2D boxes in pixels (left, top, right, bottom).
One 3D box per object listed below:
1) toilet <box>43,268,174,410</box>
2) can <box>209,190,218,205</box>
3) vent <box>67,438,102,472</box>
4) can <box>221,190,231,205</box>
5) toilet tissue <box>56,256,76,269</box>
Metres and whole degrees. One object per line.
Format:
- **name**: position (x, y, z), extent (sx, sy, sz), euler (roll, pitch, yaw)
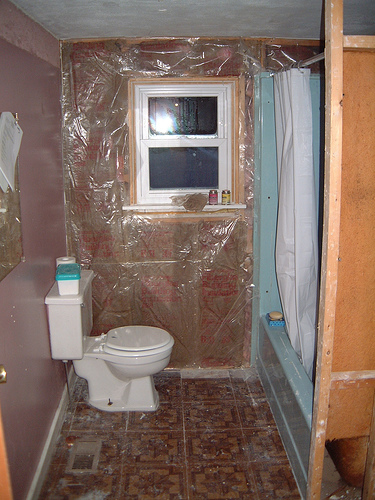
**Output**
- **toilet**: position (-0.420, 0.556, 2.405), extent (0.672, 0.753, 0.493), euler (-2, 11, -3)
- **can**: position (0.179, -0.340, 2.608), extent (0.042, 0.090, 0.095), euler (9, 15, 35)
- **vent**: position (-0.514, 1.026, 2.025), extent (0.140, 0.014, 0.256), euler (1, 12, -4)
- **can**: position (0.245, -0.335, 2.643), extent (0.074, 0.132, 0.076), euler (1, 9, 0)
- **toilet tissue**: position (-0.691, 0.077, 2.297), extent (0.106, 0.063, 0.116), euler (-2, 13, -13)
